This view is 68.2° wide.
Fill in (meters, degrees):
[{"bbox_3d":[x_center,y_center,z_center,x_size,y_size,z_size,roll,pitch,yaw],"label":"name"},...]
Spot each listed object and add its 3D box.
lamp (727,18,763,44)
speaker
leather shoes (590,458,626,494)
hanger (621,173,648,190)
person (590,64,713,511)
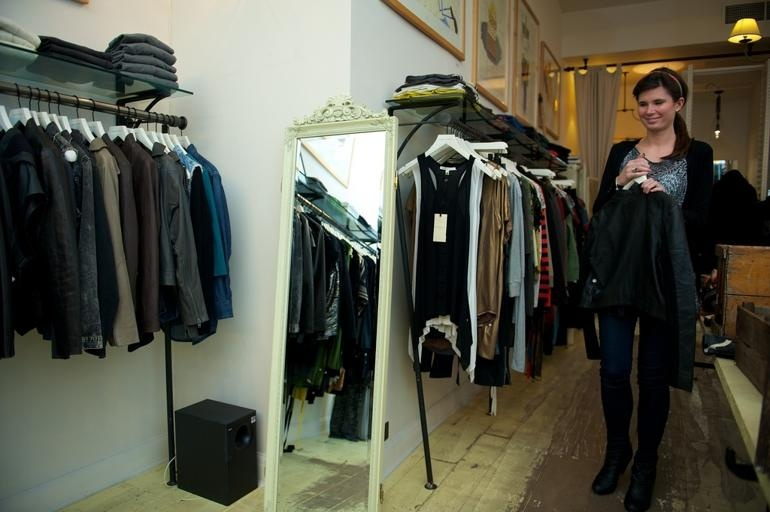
[{"bbox_3d":[3.807,-2.391,6.003,0.260,0.222,0.396,6,15,31],"label":"lamp"},{"bbox_3d":[-0.964,1.139,3.412,0.585,0.613,0.347,1,2,23],"label":"speaker"},{"bbox_3d":[1.294,1.281,3.285,0.205,0.086,0.068,-48,27,-14],"label":"leather shoes"},{"bbox_3d":[1.417,-0.415,3.210,0.104,0.037,0.076,-47,-10,13],"label":"hanger"},{"bbox_3d":[1.454,0.162,3.213,0.602,2.368,0.771,5,14,29],"label":"person"}]
